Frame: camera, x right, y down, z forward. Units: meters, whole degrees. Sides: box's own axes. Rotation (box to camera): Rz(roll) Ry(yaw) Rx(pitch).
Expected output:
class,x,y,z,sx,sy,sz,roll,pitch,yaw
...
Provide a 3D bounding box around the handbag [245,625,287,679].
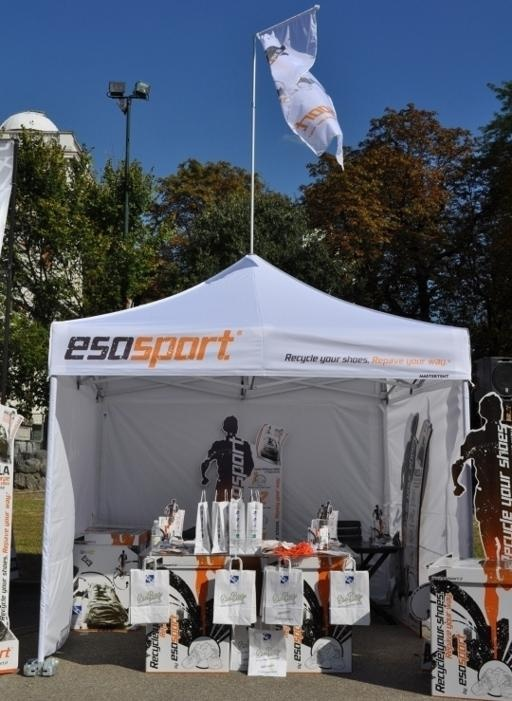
class,x,y,z,sx,sy,sz,roll,pitch,yaw
handbag,0.074,1.999,5.876,0.349,0.385,0.138,0,-23,-2

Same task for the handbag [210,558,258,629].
class,x,y,z,sx,sy,sz,roll,pitch,yaw
handbag,-0.140,1.613,5.793,0.281,0.352,0.130,1,-10,-3

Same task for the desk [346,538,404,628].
class,x,y,z,sx,sy,sz,roll,pitch,yaw
desk,0.953,1.899,7.669,0.462,0.536,0.589,3,-2,-3

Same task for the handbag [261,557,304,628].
class,x,y,z,sx,sy,sz,roll,pitch,yaw
handbag,0.167,1.589,5.770,0.269,0.359,0.167,1,-10,1
